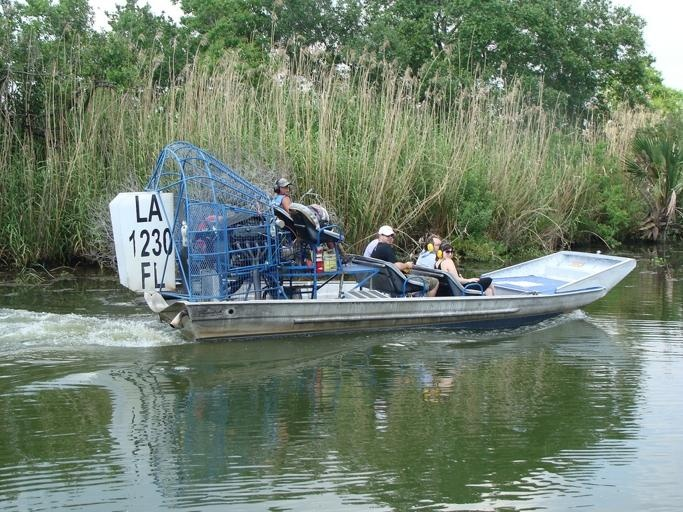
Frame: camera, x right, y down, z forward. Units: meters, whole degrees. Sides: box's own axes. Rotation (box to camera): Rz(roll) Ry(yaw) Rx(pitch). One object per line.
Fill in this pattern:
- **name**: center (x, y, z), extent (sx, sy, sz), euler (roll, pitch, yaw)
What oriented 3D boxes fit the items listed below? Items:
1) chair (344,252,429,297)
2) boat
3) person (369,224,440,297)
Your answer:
- **chair**: center (0.649, 0.301, 12.691), extent (0.662, 0.367, 1.093), euler (-1, 7, -38)
- **boat**: center (0.423, -0.415, 14.554), extent (8.089, 3.002, 5.734), euler (0, 0, -14)
- **person**: center (0.736, 0.051, 12.899), extent (1.239, 1.110, 0.748), euler (-4, 11, -13)
